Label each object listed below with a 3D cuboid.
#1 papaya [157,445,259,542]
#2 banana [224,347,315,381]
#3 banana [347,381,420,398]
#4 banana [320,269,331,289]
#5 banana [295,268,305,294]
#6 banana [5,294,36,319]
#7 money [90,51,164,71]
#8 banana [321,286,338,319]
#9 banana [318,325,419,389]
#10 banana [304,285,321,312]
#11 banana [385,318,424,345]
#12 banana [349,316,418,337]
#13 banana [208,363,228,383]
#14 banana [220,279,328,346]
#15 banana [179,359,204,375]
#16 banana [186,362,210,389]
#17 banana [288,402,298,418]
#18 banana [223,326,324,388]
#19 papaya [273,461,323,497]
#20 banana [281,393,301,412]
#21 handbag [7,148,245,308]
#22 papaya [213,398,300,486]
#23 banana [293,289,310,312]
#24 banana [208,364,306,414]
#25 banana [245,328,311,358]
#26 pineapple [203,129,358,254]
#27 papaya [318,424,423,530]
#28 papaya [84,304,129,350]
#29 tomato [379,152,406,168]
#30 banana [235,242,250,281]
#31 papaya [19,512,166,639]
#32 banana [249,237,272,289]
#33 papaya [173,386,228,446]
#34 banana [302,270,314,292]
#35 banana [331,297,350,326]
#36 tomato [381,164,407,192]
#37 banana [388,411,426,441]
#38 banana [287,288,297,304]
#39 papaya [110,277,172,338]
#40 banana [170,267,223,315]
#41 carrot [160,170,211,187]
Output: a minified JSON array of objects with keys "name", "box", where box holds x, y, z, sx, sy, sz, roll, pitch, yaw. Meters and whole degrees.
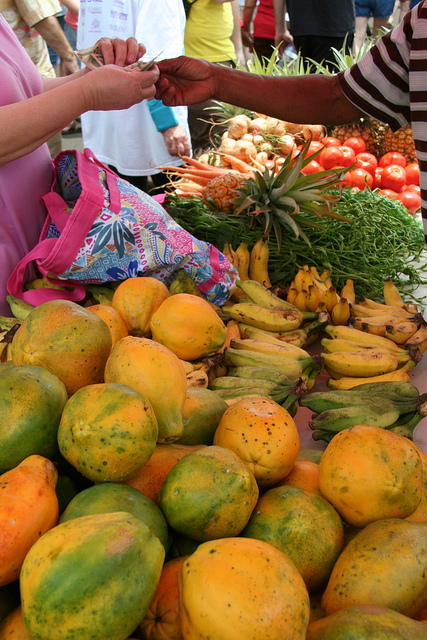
[{"name":"papaya","box":[-0.010,0.298,0.839,0.164,0.128,0.133,-13,31,-20]},{"name":"banana","box":[0.170,0.140,1.535,0.204,0.048,0.072,8,32,-5]},{"name":"banana","box":[0.470,0.197,1.428,0.219,0.067,0.061,-6,-23,33]},{"name":"banana","box":[0.505,-0.185,2.249,0.046,0.025,0.079,15,53,-20]},{"name":"banana","box":[0.369,-0.170,2.126,0.031,0.083,0.085,10,38,5]},{"name":"banana","box":[-0.616,-0.046,1.603,0.123,0.040,0.042,28,74,24]},{"name":"money","box":[-0.319,-0.950,1.825,0.176,0.057,0.321,-18,32,-28]},{"name":"banana","box":[0.463,-0.072,2.013,0.042,0.048,0.143,-24,35,22]},{"name":"banana","box":[0.529,0.121,1.651,0.258,0.099,0.185,2,43,12]},{"name":"banana","box":[0.406,-0.083,2.021,0.045,0.103,0.076,-24,36,-34]},{"name":"banana","box":[0.689,0.045,1.777,0.111,0.070,0.036,-12,52,1]},{"name":"banana","box":[0.625,0.015,1.865,0.159,0.038,0.094,-4,12,9]},{"name":"banana","box":[0.009,0.168,1.554,0.052,0.020,0.051,-46,10,-34]},{"name":"banana","box":[0.221,-0.018,1.877,0.383,0.174,0.220,8,25,9]},{"name":"banana","box":[-0.068,0.131,1.384,0.081,0.021,0.031,17,27,30]},{"name":"banana","box":[-0.035,0.150,1.347,0.028,0.056,0.090,7,16,10]},{"name":"banana","box":[0.212,0.237,1.306,0.024,0.010,0.040,-16,39,43]},{"name":"banana","box":[0.183,0.122,1.620,0.287,0.139,0.162,27,28,6]},{"name":"papaya","box":[0.185,0.313,1.005,0.055,0.042,0.074,-2,18,-9]},{"name":"banana","box":[0.198,0.209,1.275,0.018,0.020,0.072,-23,16,50]},{"name":"handbag","box":[-0.300,-0.221,1.706,0.256,0.668,0.598,-15,39,50]},{"name":"papaya","box":[0.089,0.218,1.025,0.159,0.158,0.187,22,6,-2]},{"name":"banana","box":[0.363,-0.078,2.056,0.087,0.113,0.083,-1,-1,-2]},{"name":"banana","box":[0.109,0.171,1.380,0.122,0.088,0.245,15,-4,-30]},{"name":"banana","box":[0.212,0.079,1.699,0.140,0.045,0.037,26,-15,7]},{"name":"pineapple","box":[0.282,-0.617,2.448,0.781,0.419,0.590,2,8,9]},{"name":"papaya","box":[0.286,0.280,0.981,0.177,0.184,0.182,29,-19,-14]},{"name":"papaya","box":[-0.286,0.020,1.367,0.092,0.090,0.121,-5,12,3]},{"name":"tomato","box":[1.307,-1.172,3.623,0.154,0.149,0.145,-4,7,4]},{"name":"banana","box":[0.112,-0.257,2.212,0.052,0.180,0.061,-18,-16,26]},{"name":"papaya","box":[-0.156,0.323,0.684,0.141,0.131,0.177,10,16,35]},{"name":"banana","box":[0.218,-0.253,2.253,0.091,0.254,0.071,0,-3,-36]},{"name":"papaya","box":[-0.038,0.203,1.104,0.094,0.069,0.123,-6,34,8]},{"name":"banana","box":[0.401,-0.163,2.092,0.039,0.083,0.040,-8,-18,39]},{"name":"banana","box":[0.505,-0.032,1.958,0.068,0.108,0.051,6,30,14]},{"name":"tomato","box":[1.279,-1.001,3.503,0.151,0.161,0.196,21,36,35]},{"name":"banana","box":[0.466,0.256,1.198,0.045,0.040,0.099,-18,27,49]},{"name":"banana","box":[0.334,-0.100,2.108,0.040,0.030,0.052,22,58,2]},{"name":"papaya","box":[-0.228,-0.040,1.514,0.175,0.203,0.176,-4,-14,25]},{"name":"banana","box":[-0.093,-0.136,1.758,0.201,0.065,0.130,22,74,35]},{"name":"carrot","box":[-0.176,-0.921,3.274,0.339,0.081,0.079,15,3,-1]}]
